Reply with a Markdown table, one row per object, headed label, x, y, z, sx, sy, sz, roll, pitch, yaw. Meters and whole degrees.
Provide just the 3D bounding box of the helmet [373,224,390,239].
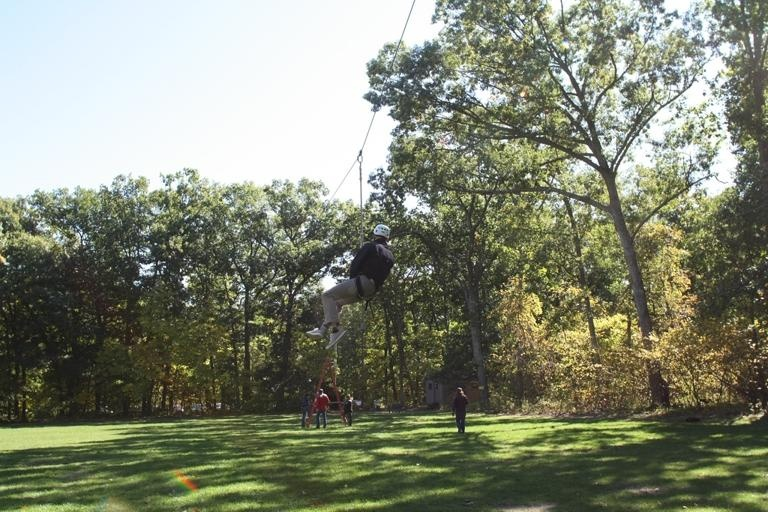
| label | x | y | z | sx | sy | sz | roll | pitch | yaw |
| --- | --- | --- | --- | --- | --- | --- | --- | --- | --- |
| helmet | -0.091 | -0.910 | 24.030 | 0.436 | 0.549 | 0.565 | 4 | 2 | -28 |
